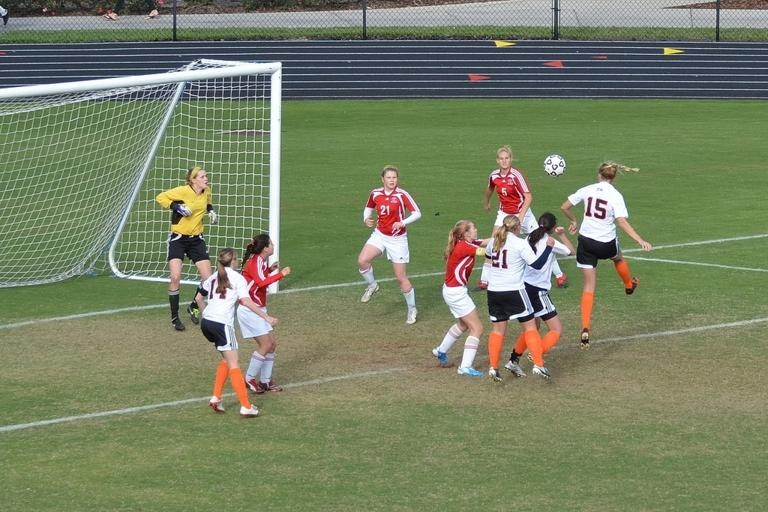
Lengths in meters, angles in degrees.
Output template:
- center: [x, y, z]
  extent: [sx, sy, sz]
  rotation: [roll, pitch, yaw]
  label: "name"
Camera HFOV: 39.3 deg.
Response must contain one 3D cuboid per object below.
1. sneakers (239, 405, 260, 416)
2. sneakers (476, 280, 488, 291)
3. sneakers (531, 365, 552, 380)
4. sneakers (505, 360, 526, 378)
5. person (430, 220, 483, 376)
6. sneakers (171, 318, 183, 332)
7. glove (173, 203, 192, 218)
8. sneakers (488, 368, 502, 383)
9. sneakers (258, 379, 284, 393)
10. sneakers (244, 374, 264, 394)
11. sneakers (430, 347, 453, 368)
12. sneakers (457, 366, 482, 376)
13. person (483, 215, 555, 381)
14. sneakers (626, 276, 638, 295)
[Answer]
- center: [-1.758, 2.081, 14.420]
  extent: [0.300, 0.105, 0.105]
  rotation: [-2, 25, -35]
  label: "sneakers"
- center: [1.714, 0.526, 18.602]
  extent: [0.174, 0.139, 0.184]
  rotation: [-4, -2, 1]
  label: "sneakers"
- center: [2.279, 1.662, 15.186]
  extent: [0.391, 0.147, 0.136]
  rotation: [20, -10, -35]
  label: "sneakers"
- center: [1.867, 1.638, 15.361]
  extent: [0.403, 0.191, 0.126]
  rotation: [33, 29, -35]
  label: "sneakers"
- center: [1.118, 0.592, 15.609]
  extent: [0.860, 2.187, 0.952]
  rotation: [-3, 8, 2]
  label: "person"
- center: [-3.243, 1.088, 16.948]
  extent: [0.129, 0.103, 0.311]
  rotation: [-11, 16, -27]
  label: "sneakers"
- center: [-3.158, -0.698, 16.904]
  extent: [0.219, 0.216, 0.214]
  rotation: [-7, 9, -33]
  label: "glove"
- center: [1.568, 1.682, 15.067]
  extent: [0.226, 0.085, 0.235]
  rotation: [2, 6, 11]
  label: "sneakers"
- center: [-1.565, 1.855, 15.049]
  extent: [0.381, 0.133, 0.135]
  rotation: [1, 4, -5]
  label: "sneakers"
- center: [-1.806, 1.795, 15.032]
  extent: [0.378, 0.162, 0.126]
  rotation: [29, 25, -3]
  label: "sneakers"
- center: [0.846, 1.491, 15.722]
  extent: [0.160, 0.315, 0.150]
  rotation: [-31, 19, 16]
  label: "sneakers"
- center: [1.208, 1.656, 15.379]
  extent: [0.400, 0.114, 0.124]
  rotation: [0, 7, 9]
  label: "sneakers"
- center: [1.878, 0.603, 15.214]
  extent: [0.847, 2.296, 0.752]
  rotation: [-3, 8, 4]
  label: "person"
- center: [4.066, 0.499, 17.637]
  extent: [0.162, 0.144, 0.403]
  rotation: [12, 42, 33]
  label: "sneakers"
